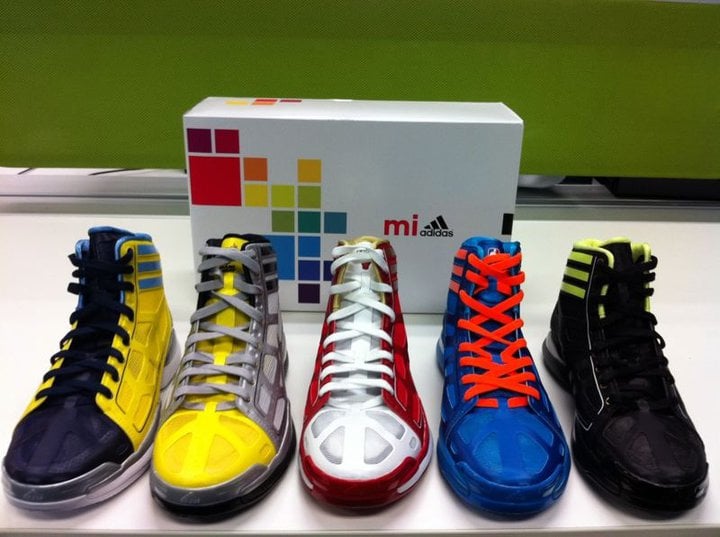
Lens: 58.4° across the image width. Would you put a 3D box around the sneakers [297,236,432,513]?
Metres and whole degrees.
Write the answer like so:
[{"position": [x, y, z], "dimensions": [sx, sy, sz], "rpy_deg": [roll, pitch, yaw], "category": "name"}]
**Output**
[{"position": [0.025, 0.193, 1.363], "dimensions": [0.202, 0.257, 0.587], "rpy_deg": [2, 33, 2], "category": "sneakers"}]
